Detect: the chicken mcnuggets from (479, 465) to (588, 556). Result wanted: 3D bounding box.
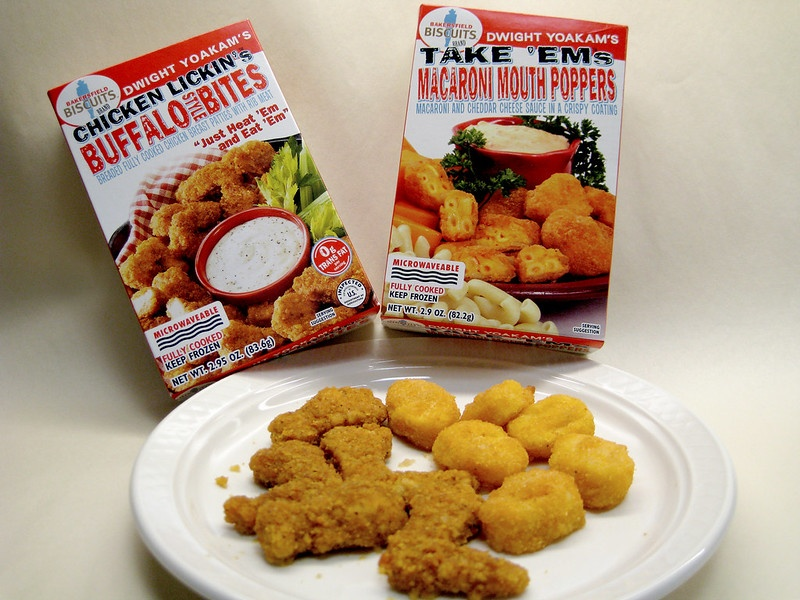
[{"bbox_3d":[0.292,0.479,1.490,0.235,0.111,0.146,-15,30,-19],"label":"chicken mcnuggets"}]

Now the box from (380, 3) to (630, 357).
[{"bbox_3d":[0.316,-0.385,1.932,0.632,0.897,0.610,4,30,16],"label":"box"}]

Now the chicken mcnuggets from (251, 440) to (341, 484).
[{"bbox_3d":[-0.272,0.401,1.649,0.163,0.063,0.228,-22,-11,19],"label":"chicken mcnuggets"}]

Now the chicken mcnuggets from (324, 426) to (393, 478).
[{"bbox_3d":[-0.100,0.366,1.592,0.122,0.029,0.120,2,24,1],"label":"chicken mcnuggets"}]

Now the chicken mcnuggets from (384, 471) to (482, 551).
[{"bbox_3d":[0.093,0.455,1.461,0.154,0.039,0.151,2,31,5],"label":"chicken mcnuggets"}]

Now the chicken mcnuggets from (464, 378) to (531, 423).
[{"bbox_3d":[0.258,0.263,1.708,0.119,0.040,0.127,-40,16,-35],"label":"chicken mcnuggets"}]

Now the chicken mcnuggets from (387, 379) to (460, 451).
[{"bbox_3d":[0.061,0.283,1.728,0.183,0.092,0.177,36,56,27],"label":"chicken mcnuggets"}]

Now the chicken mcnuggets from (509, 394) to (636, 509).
[{"bbox_3d":[0.419,0.345,1.626,0.200,0.091,0.304,-20,36,-29],"label":"chicken mcnuggets"}]

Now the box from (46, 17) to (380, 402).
[{"bbox_3d":[-0.555,-0.289,1.925,0.686,0.921,0.655,-17,31,-21],"label":"box"}]

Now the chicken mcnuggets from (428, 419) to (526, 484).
[{"bbox_3d":[0.201,0.367,1.645,0.249,0.080,0.196,14,19,12],"label":"chicken mcnuggets"}]
